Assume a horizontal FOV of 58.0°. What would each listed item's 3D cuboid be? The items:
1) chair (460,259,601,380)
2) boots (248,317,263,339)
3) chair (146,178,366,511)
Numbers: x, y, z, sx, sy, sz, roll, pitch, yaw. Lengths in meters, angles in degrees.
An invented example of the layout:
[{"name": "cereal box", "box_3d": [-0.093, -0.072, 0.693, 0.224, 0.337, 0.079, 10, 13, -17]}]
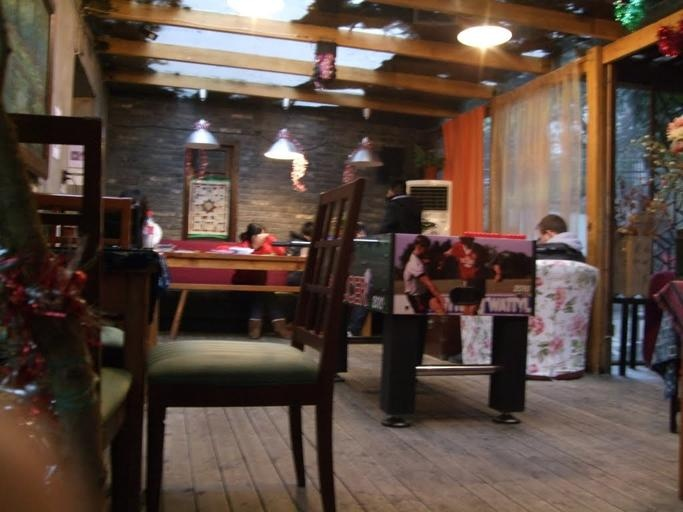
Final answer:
[{"name": "chair", "box_3d": [1.306, 0.505, 4.875, 1.199, 0.745, 0.875, 1, -5, 5]}, {"name": "boots", "box_3d": [-0.882, 0.751, 6.284, 0.232, 0.182, 0.197, 0, -1, -2]}, {"name": "chair", "box_3d": [-0.300, 0.295, 2.038, 0.634, 0.870, 0.601, 3, 1, -6]}]
